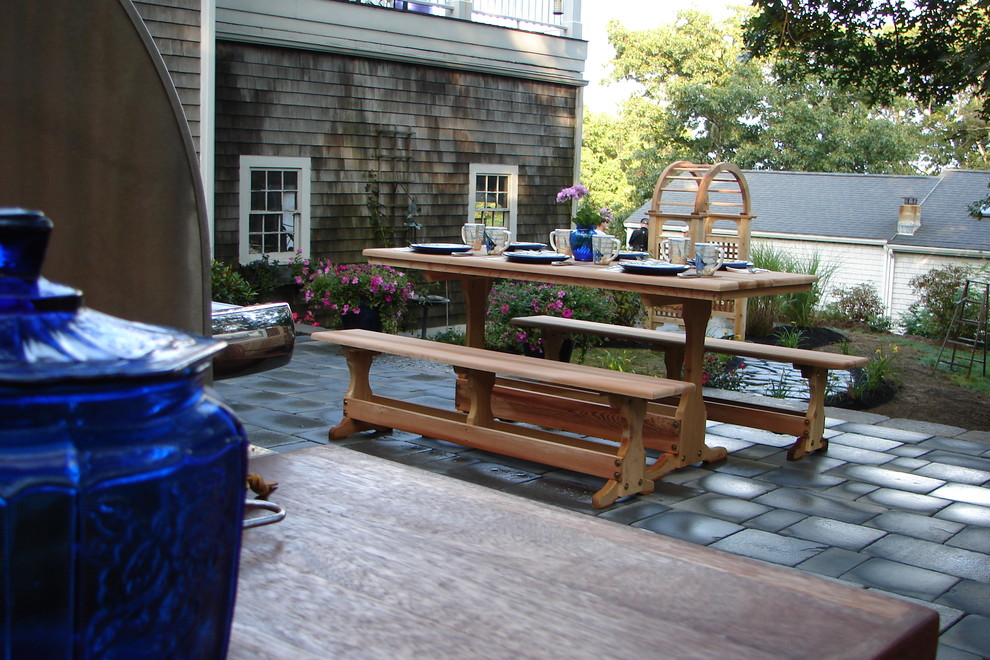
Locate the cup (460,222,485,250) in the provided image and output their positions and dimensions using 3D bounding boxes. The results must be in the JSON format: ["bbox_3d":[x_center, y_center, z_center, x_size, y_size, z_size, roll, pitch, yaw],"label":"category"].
[{"bbox_3d":[-0.176,-0.809,6.195,0.247,0.215,0.223,1,2,41],"label":"cup"}]

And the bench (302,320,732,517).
[{"bbox_3d":[0.142,0.542,5.119,2.434,0.785,1.116,8,12,31],"label":"bench"}]

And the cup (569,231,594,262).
[{"bbox_3d":[0.692,-0.670,5.698,0.240,0.250,0.231,-1,4,0],"label":"cup"}]

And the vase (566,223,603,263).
[{"bbox_3d":[0.688,-0.674,5.569,0.271,0.284,0.263,1,6,21],"label":"vase"}]

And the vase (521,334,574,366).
[{"bbox_3d":[0.655,0.245,8.460,0.418,0.415,0.380,0,0,-7],"label":"vase"}]

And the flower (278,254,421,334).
[{"bbox_3d":[-1.794,-0.385,9.649,1.218,0.753,0.853,-3,-11,5],"label":"flower"}]

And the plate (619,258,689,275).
[{"bbox_3d":[1.069,-0.418,4.832,0.425,0.078,0.271,4,10,10],"label":"plate"}]
